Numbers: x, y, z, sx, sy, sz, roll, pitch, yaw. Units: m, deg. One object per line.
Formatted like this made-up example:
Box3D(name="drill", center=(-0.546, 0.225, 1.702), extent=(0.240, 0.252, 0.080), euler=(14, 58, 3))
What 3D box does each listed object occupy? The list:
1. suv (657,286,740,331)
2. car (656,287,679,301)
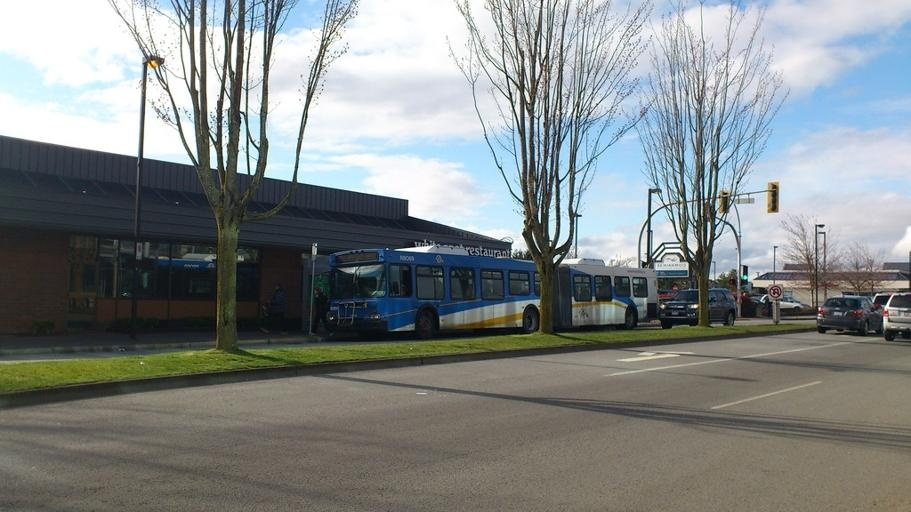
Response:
Box3D(name="suv", center=(14.635, 3.183, 42.984), extent=(5.165, 2.364, 1.946), euler=(-3, 10, -32))
Box3D(name="car", center=(16.678, 3.083, 56.433), extent=(1.719, 0.804, 2.754), euler=(0, -1, 21))
